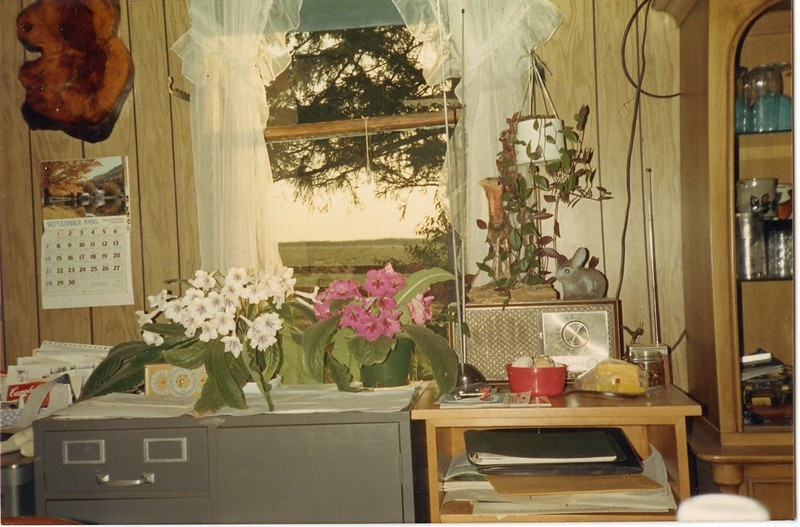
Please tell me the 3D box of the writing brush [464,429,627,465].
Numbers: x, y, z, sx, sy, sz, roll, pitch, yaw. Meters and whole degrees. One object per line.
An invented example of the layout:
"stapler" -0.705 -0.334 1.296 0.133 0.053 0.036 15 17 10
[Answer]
"writing brush" 0.484 0.628 3.313 0.677 0.092 0.492 1 -1 -5

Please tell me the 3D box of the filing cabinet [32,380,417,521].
"filing cabinet" -0.560 0.657 3.347 1.190 0.391 0.724 -1 0 3
